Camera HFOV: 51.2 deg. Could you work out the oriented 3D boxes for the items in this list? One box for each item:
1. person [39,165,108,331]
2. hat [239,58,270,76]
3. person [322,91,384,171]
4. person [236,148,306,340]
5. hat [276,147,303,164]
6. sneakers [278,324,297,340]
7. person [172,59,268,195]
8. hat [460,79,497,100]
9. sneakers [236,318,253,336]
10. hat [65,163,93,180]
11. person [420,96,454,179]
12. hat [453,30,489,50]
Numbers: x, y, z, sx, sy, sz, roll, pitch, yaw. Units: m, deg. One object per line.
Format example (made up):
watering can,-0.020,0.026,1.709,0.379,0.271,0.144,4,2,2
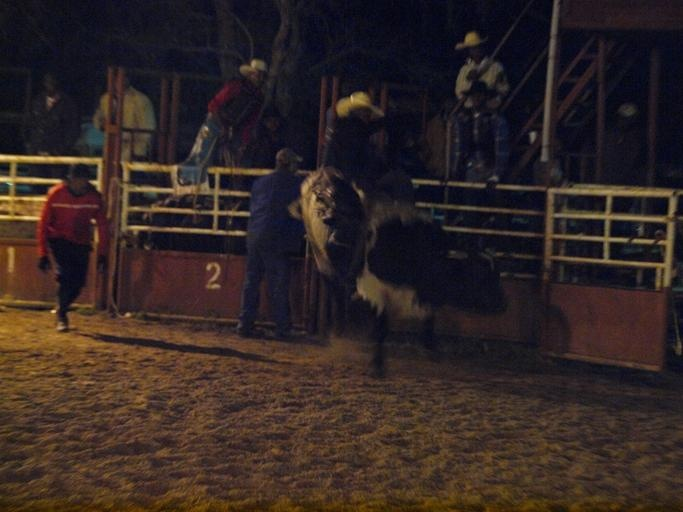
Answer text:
person,-3.879,-0.150,10.322,0.932,2.341,0.536,-2,12,-25
hat,-1.481,-3.039,11.631,0.456,0.284,0.525,0,2,-41
person,0.119,-1.784,9.261,0.729,0.403,1.165,-4,-3,4
person,-1.054,-0.181,10.572,0.827,2.778,0.412,4,10,7
hat,-0.778,-1.477,10.480,0.375,0.225,0.255,7,13,19
sneakers,-0.780,1.147,10.613,0.124,0.287,0.387,7,14,32
person,-1.930,-1.941,11.386,1.457,1.904,0.427,-8,14,-43
hat,2.351,-2.828,12.100,0.509,0.325,0.169,3,11,22
sneakers,-1.455,1.070,10.658,0.267,0.293,0.168,0,3,-9
hat,-3.782,-1.220,10.255,0.303,0.216,0.283,-2,12,-22
person,1.808,-2.172,13.226,0.288,1.299,0.896,5,6,-23
hat,2.257,-3.681,12.310,0.427,0.208,0.519,-20,10,19
